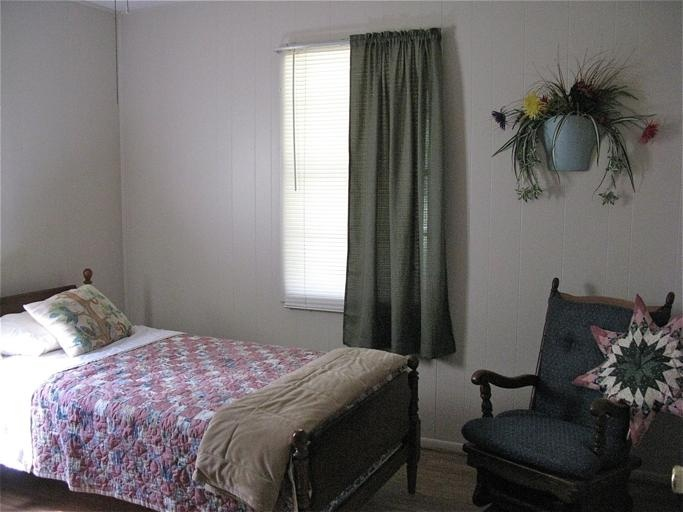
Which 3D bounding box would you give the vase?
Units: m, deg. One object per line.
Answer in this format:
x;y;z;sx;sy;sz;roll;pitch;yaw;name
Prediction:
1.441;-0.703;3.523;0.324;0.263;0.322;0;1;-3;vase

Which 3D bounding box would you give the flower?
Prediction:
1.466;-0.861;3.795;0.888;0.797;0.916;-2;10;-5;flower
